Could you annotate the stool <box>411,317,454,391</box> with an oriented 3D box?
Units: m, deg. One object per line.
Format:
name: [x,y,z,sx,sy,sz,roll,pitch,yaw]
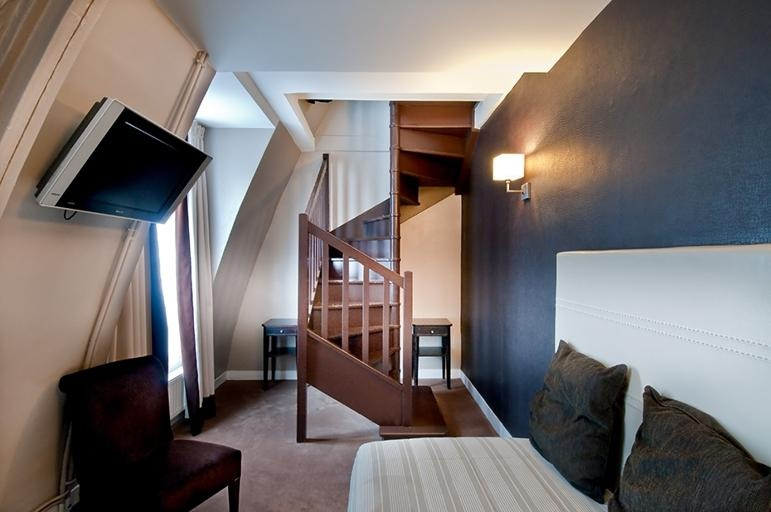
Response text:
stool: [0.363,0.970,5.669,0.510,0.839,0.681,0,-5,-1]

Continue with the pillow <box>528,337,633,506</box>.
pillow: [1.020,0.890,2.787,0.353,0.715,0.721,12,-1,-12]
